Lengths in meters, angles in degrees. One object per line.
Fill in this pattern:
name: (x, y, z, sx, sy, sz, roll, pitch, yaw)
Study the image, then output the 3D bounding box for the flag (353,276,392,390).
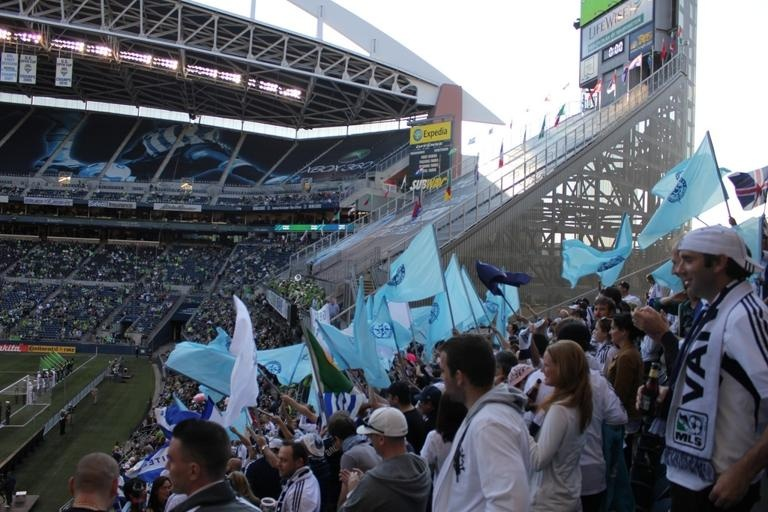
flag: (-0.204, 1.352, 11.943, 0.694, 2.230, 1.686, 3, -19, 0)

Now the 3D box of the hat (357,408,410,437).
hat: (0.026, 1.905, 7.508, 0.421, 0.241, 0.344, 5, -6, 11)

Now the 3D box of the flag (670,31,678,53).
flag: (11.717, -8.602, 26.011, 0.148, 0.810, 0.499, 6, -19, -9)

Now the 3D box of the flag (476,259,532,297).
flag: (2.226, 0.497, 11.984, 0.844, 0.831, 1.517, -2, -20, 14)

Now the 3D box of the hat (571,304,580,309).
hat: (3.418, 0.904, 11.578, 0.159, 0.097, 0.258, -1, -5, 26)

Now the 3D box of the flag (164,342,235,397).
flag: (-3.230, 2.067, 11.438, 1.039, 0.328, 0.858, 24, 25, -12)

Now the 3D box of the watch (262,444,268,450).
watch: (-1.632, 2.620, 8.905, 0.076, 0.083, 0.081, 0, -7, 1)

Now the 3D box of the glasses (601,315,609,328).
glasses: (3.173, 0.938, 9.294, 0.100, 0.141, 0.137, 17, -41, 13)

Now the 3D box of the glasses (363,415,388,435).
glasses: (-0.106, 1.957, 7.453, 0.285, 0.100, 0.195, 12, -20, 8)

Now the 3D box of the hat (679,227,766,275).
hat: (3.581, -0.084, 6.905, 0.685, 0.396, 0.448, 4, 5, 11)

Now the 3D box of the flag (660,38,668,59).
flag: (11.399, -8.351, 26.301, 0.283, 0.832, 0.246, -6, -20, 25)

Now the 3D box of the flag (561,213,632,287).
flag: (4.384, -0.023, 13.339, 1.208, 1.641, 1.199, 0, -19, 9)

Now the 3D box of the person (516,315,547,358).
person: (2.476, 1.363, 10.900, 0.287, 0.918, 0.519, -14, 28, -25)

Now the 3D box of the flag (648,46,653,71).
flag: (10.884, -7.948, 26.363, 0.207, 0.918, 0.669, -4, -20, 21)

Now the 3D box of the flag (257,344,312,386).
flag: (-2.118, 2.252, 13.939, 1.012, 0.491, 1.076, 0, -4, 10)

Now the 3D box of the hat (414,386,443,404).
hat: (0.669, 1.968, 9.258, 0.328, 0.198, 0.245, -3, 3, 1)

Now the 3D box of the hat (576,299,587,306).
hat: (3.649, 0.851, 11.891, 0.130, 0.076, 0.183, 1, -1, 10)

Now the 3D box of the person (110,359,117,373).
person: (-13.677, 5.599, 32.801, 0.315, 0.740, 0.999, 10, -20, -21)

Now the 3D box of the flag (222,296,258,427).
flag: (-2.220, 1.617, 10.282, 0.538, 2.123, 0.639, 7, -19, -13)
